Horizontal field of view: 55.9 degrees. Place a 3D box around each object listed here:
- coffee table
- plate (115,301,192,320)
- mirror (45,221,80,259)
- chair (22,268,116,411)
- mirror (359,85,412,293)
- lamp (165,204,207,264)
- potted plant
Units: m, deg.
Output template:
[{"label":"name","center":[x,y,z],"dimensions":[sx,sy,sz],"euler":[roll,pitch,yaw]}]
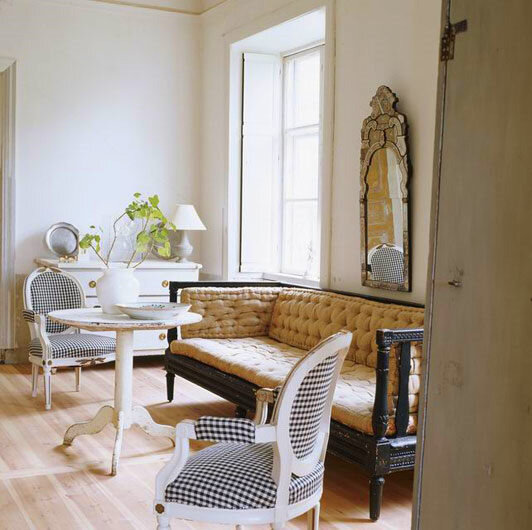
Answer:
[{"label":"coffee table","center":[-0.907,0.761,3.187],"dimensions":[0.778,0.897,0.818],"euler":[2,1,-2]},{"label":"plate","center":[-0.727,0.290,3.131],"dimensions":[0.347,0.078,0.425],"euler":[3,1,31]},{"label":"mirror","center":[-2.201,-0.253,5.408],"dimensions":[0.353,0.391,0.175],"euler":[1,2,-24]},{"label":"chair","center":[-1.666,0.583,4.357],"dimensions":[0.767,1.235,0.765],"euler":[0,-2,-26]},{"label":"mirror","center":[0.888,-0.549,3.703],"dimensions":[0.089,1.481,0.487],"euler":[1,2,-31]},{"label":"lamp","center":[-0.907,-0.338,5.489],"dimensions":[0.392,0.660,0.445],"euler":[4,2,9]},{"label":"potted plant","center":[-0.950,-0.031,3.398],"dimensions":[0.556,0.777,0.598],"euler":[2,-10,1]}]
